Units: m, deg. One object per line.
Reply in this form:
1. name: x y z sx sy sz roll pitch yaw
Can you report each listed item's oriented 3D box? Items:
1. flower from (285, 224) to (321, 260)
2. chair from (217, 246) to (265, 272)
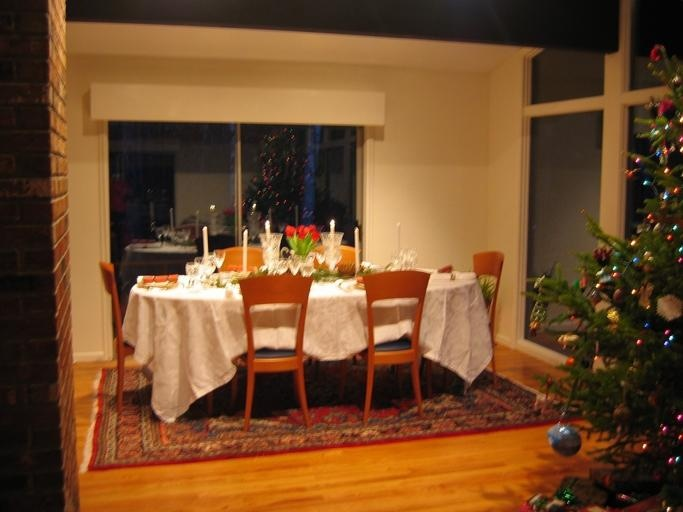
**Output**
1. flower: -0.311 -0.106 4.617 0.249 0.294 0.266 0 -1 -18
2. chair: -0.909 0.014 5.142 0.272 0.226 0.294 1 -3 -4
